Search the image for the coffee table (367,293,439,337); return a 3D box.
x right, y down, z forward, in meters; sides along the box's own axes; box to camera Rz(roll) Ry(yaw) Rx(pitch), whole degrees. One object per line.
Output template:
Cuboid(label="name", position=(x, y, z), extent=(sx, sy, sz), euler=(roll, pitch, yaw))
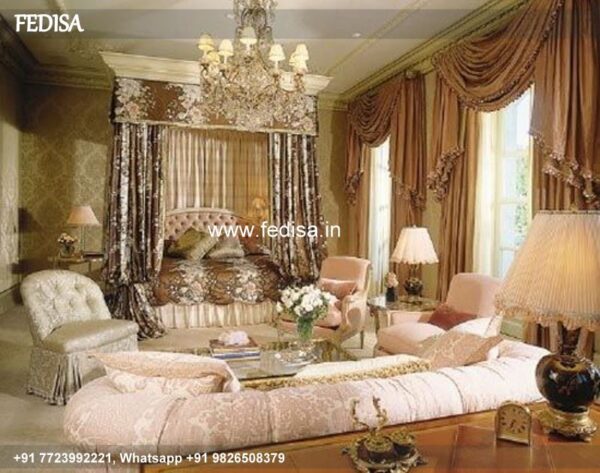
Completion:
Cuboid(label="coffee table", position=(0.949, 0.660, 4.561), extent=(0.508, 0.388, 0.450), euler=(-1, 5, -20))

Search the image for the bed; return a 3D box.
Cuboid(label="bed", position=(-1.258, 0.313, 6.676), extent=(1.398, 1.156, 1.816), euler=(-1, 5, -17))

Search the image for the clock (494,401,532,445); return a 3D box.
Cuboid(label="clock", position=(0.822, 0.726, 1.836), extent=(0.150, 0.181, 0.064), euler=(-1, -2, 22))

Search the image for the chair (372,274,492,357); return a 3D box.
Cuboid(label="chair", position=(1.096, 0.636, 3.981), extent=(0.852, 0.953, 0.679), euler=(8, -5, -20))

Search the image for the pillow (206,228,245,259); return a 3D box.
Cuboid(label="pillow", position=(-1.080, 0.161, 7.043), extent=(0.405, 0.124, 0.396), euler=(4, 31, -4))

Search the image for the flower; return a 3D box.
Cuboid(label="flower", position=(0.049, 0.573, 3.978), extent=(0.477, 0.473, 0.481), euler=(2, -5, -20))
